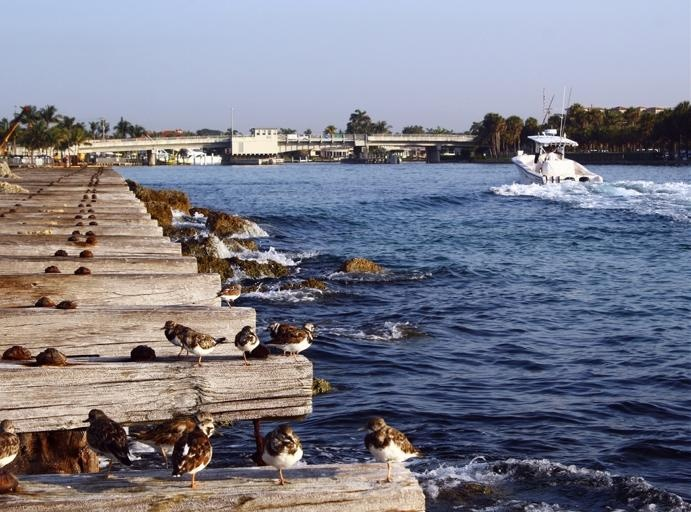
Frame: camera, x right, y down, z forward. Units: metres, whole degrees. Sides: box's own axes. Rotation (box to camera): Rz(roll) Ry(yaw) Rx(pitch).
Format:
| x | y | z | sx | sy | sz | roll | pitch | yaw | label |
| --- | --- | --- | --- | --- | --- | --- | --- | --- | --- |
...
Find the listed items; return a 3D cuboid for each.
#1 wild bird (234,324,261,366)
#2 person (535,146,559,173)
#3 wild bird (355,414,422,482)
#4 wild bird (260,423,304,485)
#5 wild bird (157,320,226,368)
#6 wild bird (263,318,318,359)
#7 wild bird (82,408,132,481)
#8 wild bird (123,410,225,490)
| x | y | z | sx | sy | sz | roll | pitch | yaw | label |
| --- | --- | --- | --- | --- | --- | --- | --- | --- | --- |
| -0.873 | 0.769 | 9.639 | 0.243 | 0.321 | 0.407 | -1 | -2 | -5 | wild bird |
| 13.593 | -6.460 | 73.268 | 1.085 | 1.277 | 2.876 | -2 | 4 | 0 | person |
| 0.397 | 1.711 | 9.752 | 0.368 | 0.532 | 0.673 | -7 | -10 | 40 | wild bird |
| -0.557 | 1.684 | 9.289 | 0.401 | 0.464 | 0.658 | 3 | -7 | -11 | wild bird |
| -1.322 | 0.742 | 9.566 | 0.370 | 0.248 | 0.713 | -3 | 11 | -25 | wild bird |
| -0.442 | 0.806 | 10.507 | 0.622 | 0.343 | 0.328 | 3 | 2 | -14 | wild bird |
| -1.950 | 1.512 | 8.940 | 0.624 | 0.436 | 0.298 | 9 | 1 | 40 | wild bird |
| -1.386 | 1.572 | 8.880 | 0.671 | 0.478 | 0.703 | 0 | 10 | -9 | wild bird |
